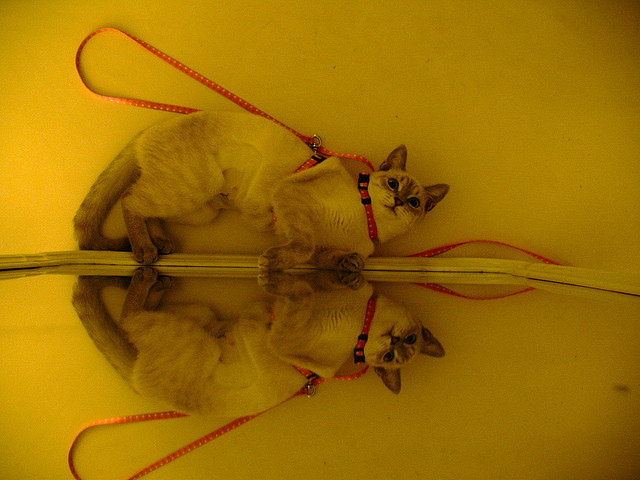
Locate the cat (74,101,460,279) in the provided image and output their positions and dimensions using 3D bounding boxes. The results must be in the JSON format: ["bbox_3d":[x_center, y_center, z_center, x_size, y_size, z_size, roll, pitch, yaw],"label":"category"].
[{"bbox_3d":[-0.237,-0.224,2.814,1.643,0.403,0.747,2,-80,-3],"label":"cat"}]
